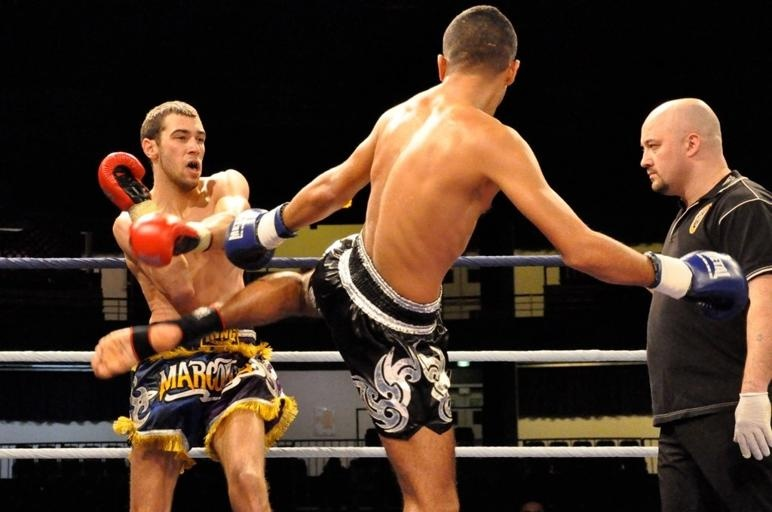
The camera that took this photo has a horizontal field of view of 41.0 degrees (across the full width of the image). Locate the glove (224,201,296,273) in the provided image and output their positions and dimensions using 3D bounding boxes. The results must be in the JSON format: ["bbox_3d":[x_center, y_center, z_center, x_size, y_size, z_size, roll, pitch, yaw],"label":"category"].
[{"bbox_3d":[-1.197,-0.174,9.228,0.690,0.495,0.292,-23,-28,-11],"label":"glove"}]

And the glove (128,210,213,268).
[{"bbox_3d":[-1.944,-0.167,9.229,0.438,0.281,0.634,25,16,27],"label":"glove"}]
